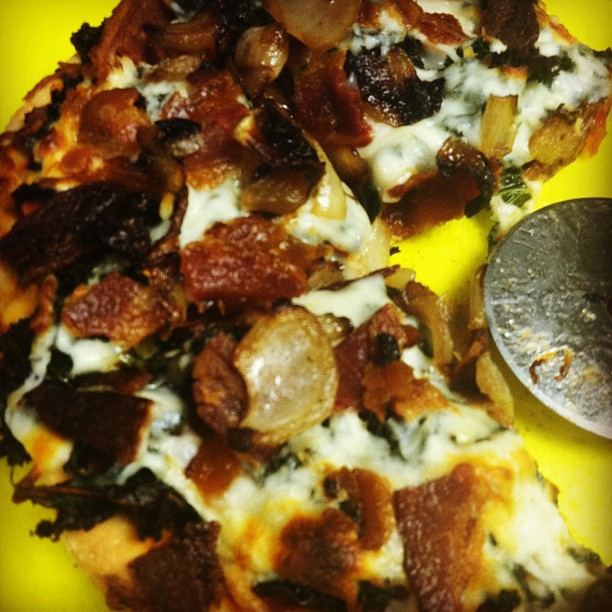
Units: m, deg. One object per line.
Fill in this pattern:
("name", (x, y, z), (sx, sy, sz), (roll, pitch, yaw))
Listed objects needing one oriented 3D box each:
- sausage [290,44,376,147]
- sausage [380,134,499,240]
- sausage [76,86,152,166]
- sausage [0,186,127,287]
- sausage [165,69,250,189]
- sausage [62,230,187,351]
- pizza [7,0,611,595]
("sausage", (0.022, -0.378, 1.623), (0.230, 0.053, 0.205), (4, 44, -5))
("sausage", (0.274, -0.217, 1.721), (0.062, 0.178, 0.225), (-42, 15, 32))
("sausage", (-0.342, -0.325, 1.580), (0.143, 0.060, 0.141), (11, 68, 11))
("sausage", (-0.432, -0.133, 1.583), (0.257, 0.114, 0.101), (-20, 67, -2))
("sausage", (-0.172, -0.340, 1.572), (0.187, 0.069, 0.202), (-51, 35, 5))
("sausage", (-0.338, 0.029, 1.652), (0.200, 0.269, 0.059), (14, 69, -3))
("pizza", (0.018, -0.028, 1.619), (1.164, 0.538, 1.066), (-4, 66, 5))
